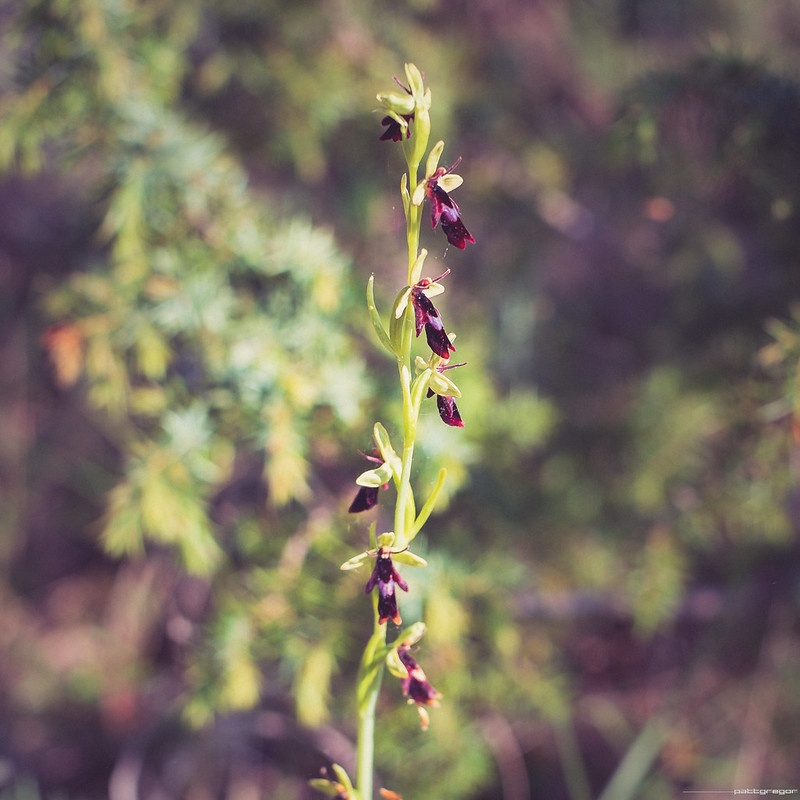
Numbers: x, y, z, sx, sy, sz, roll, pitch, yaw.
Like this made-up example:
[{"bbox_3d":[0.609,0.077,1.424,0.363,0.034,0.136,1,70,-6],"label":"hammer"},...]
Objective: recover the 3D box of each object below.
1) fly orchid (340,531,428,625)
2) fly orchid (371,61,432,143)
[{"bbox_3d":[-0.022,0.282,1.934,0.177,0.071,0.179,0,70,-2],"label":"fly orchid"},{"bbox_3d":[0.005,-0.426,1.768,0.073,0.140,0.091,7,71,1],"label":"fly orchid"}]
